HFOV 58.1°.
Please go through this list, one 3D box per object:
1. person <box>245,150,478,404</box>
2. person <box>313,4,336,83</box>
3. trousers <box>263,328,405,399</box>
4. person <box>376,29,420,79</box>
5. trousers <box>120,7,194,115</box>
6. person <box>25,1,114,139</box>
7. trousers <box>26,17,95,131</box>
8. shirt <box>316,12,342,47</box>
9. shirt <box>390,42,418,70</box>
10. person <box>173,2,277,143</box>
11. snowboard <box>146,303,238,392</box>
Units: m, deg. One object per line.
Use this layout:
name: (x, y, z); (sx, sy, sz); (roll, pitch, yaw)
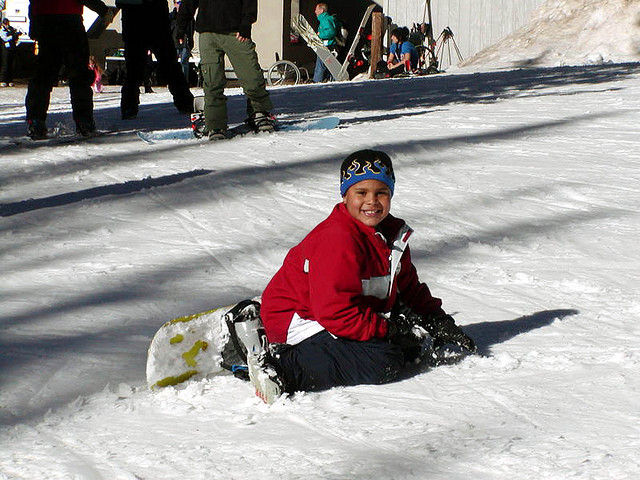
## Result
person: (0.118, 0.096, 2.211); (0.923, 0.872, 0.359); (-7, 14, -21)
person: (0.107, -5.230, 15.305); (0.653, 1.995, 1.274); (-3, 13, -1)
trousers: (0.053, 0.448, 2.140); (0.459, 0.129, 0.234); (-6, -2, -6)
person: (2.160, -4.987, 15.437); (0.748, 1.191, 0.823); (2, 14, 21)
trousers: (-2.342, -2.527, 8.077); (1.056, 1.505, 0.592); (-9, 15, -23)
person: (-2.689, -1.835, 6.215); (0.986, 1.447, 0.432); (-7, 15, -19)
trousers: (-2.765, -1.786, 6.238); (0.827, 1.029, 0.379); (-4, -3, 9)
shirt: (0.273, -5.544, 15.065); (0.557, 0.811, 0.963); (4, 31, 22)
shirt: (2.197, -4.943, 15.468); (0.669, 0.697, 0.730); (3, 13, 25)
person: (-0.953, -1.789, 6.143); (0.907, 1.459, 0.520); (-4, 14, -4)
snowboard: (-0.433, 0.422, 2.273); (0.151, 0.264, 0.632); (-7, -3, 16)
